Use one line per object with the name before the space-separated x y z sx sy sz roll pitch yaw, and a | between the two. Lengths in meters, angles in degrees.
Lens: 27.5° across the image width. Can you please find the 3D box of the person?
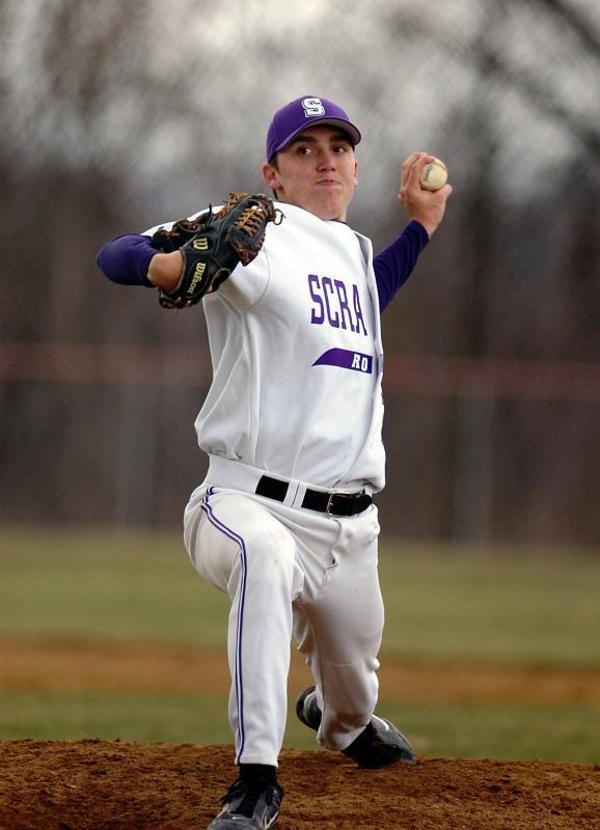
person | -0.067 0.046 3.178 0.530 1.555 1.039 5 -2 24

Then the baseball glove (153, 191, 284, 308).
baseball glove | -0.200 -0.400 2.852 0.222 0.297 0.107 43 -22 -1

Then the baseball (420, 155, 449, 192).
baseball | 0.407 -0.719 3.657 0.092 0.090 0.045 41 -18 -12

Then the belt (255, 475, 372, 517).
belt | 0.067 0.208 3.123 0.127 0.084 0.414 4 -2 35

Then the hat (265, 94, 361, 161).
hat | 0.015 -0.794 3.347 0.168 0.124 0.219 -3 -20 -21
